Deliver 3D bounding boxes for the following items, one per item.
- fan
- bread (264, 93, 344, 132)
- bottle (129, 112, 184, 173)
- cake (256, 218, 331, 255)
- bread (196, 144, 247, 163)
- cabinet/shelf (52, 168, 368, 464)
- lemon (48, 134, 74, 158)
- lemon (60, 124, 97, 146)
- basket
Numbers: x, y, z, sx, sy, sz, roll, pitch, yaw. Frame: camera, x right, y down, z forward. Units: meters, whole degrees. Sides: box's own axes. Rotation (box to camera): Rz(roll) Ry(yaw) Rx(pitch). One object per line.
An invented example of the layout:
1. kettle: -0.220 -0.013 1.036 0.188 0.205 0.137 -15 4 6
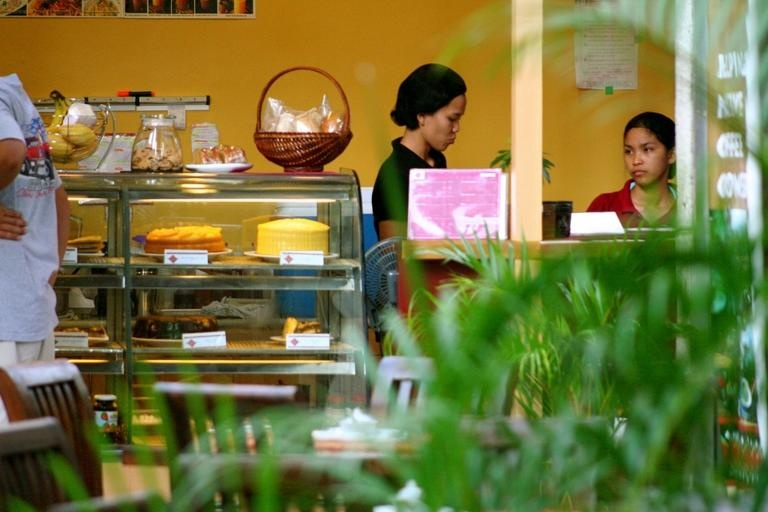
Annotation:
1. fan: -0.012 0.102 2.962 0.113 0.255 0.394 -3 0 -7
2. bread: -0.314 -0.503 3.080 0.168 0.085 0.223 -1 6 -27
3. bottle: -0.818 -0.416 3.180 0.209 0.228 0.212 0 -5 -5
4. cake: -0.363 -0.072 3.217 0.239 0.116 0.238 2 4 22
5. bread: -0.595 -0.368 3.121 0.106 0.040 0.111 1 12 14
6. cabinet/shelf: -0.498 0.107 2.504 1.024 0.929 0.394 0 -1 -2
7. lemon: -1.164 -0.390 3.066 0.111 0.079 0.041 4 19 -26
8. lemon: -1.099 -0.433 3.076 0.085 0.052 0.067 1 -2 -10
9. basket: -0.302 -0.500 3.129 0.359 0.366 0.359 1 10 34
